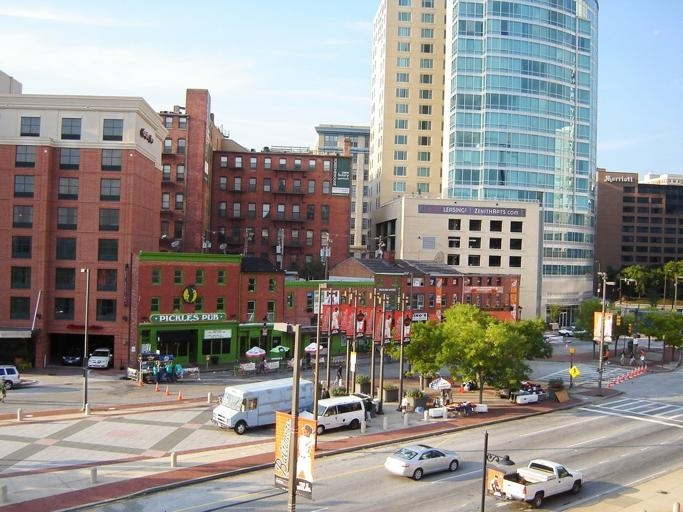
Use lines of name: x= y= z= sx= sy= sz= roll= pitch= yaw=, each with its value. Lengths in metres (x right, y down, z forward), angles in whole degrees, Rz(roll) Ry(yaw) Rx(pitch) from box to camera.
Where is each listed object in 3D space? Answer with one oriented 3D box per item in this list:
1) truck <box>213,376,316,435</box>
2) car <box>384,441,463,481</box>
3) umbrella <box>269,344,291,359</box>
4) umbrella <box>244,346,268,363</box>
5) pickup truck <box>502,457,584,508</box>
truck: x=-7.328 y=14.612 z=95.251 sx=10.205 sy=3.982 sz=5.220 roll=2 pitch=-4 yaw=-30
car: x=7.252 y=18.473 z=85.779 sx=7.570 sy=2.516 sz=3.406 roll=2 pitch=-4 yaw=-38
umbrella: x=-7.532 y=11.905 z=118.547 sx=1.990 sy=1.278 sz=1.952 roll=3 pitch=3 yaw=15
umbrella: x=-10.142 y=11.628 z=113.320 sx=2.195 sy=1.071 sz=2.160 roll=2 pitch=-3 yaw=13
pickup truck: x=17.344 y=19.570 z=83.754 sx=6.232 sy=2.354 sz=3.477 roll=-5 pitch=4 yaw=-35
